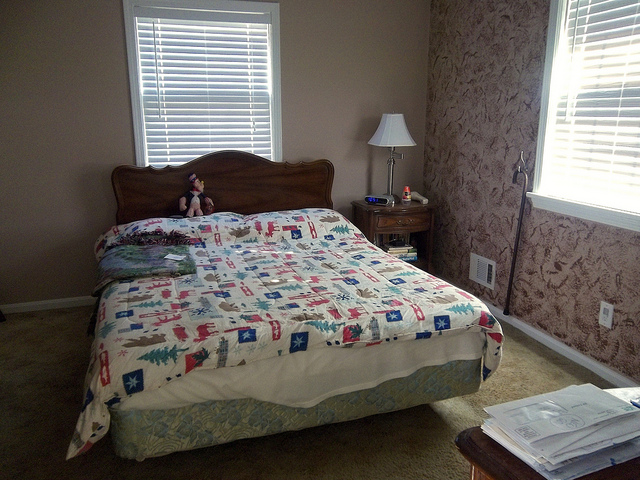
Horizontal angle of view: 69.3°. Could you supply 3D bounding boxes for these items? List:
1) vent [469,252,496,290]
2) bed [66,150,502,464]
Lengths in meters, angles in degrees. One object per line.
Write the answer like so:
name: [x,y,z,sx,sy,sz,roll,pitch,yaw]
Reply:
vent: [1.388,0.266,3.960,0.090,0.230,0.332,8,6,-23]
bed: [-0.339,0.381,3.185,2.234,0.729,1.903,-5,18,-15]
